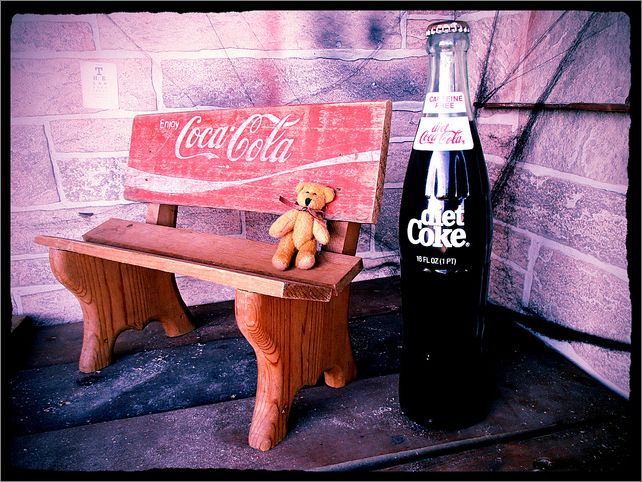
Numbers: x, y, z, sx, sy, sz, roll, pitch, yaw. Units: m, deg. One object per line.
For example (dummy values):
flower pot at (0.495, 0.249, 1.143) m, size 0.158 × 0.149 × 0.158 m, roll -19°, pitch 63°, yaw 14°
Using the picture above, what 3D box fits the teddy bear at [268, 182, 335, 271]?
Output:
teddy bear at (-0.051, -0.051, 1.615) m, size 0.203 × 0.238 × 0.213 m, roll 12°, pitch 31°, yaw 12°

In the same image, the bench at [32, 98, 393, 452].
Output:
bench at (-0.409, 0.040, 1.832) m, size 1.289 × 0.906 × 0.689 m, roll 9°, pitch 22°, yaw 35°
